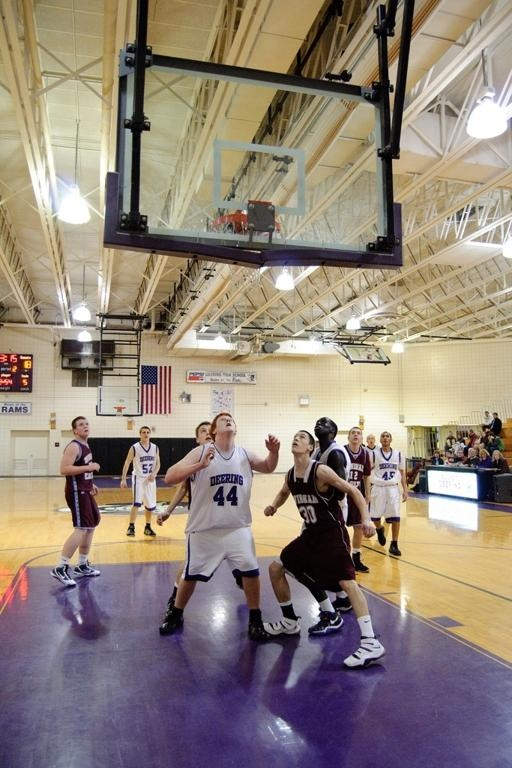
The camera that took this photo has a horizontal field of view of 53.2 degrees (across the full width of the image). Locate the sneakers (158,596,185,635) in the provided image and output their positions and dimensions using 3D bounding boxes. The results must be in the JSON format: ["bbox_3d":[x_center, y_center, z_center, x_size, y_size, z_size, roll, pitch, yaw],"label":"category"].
[{"bbox_3d":[-0.561,1.636,3.545,0.097,0.227,0.231,-2,-8,26],"label":"sneakers"}]

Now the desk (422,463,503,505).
[{"bbox_3d":[4.945,2.432,12.551,0.518,0.845,1.824,0,-2,-29],"label":"desk"}]

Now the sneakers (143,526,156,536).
[{"bbox_3d":[-1.548,2.178,7.526,0.087,0.191,0.260,6,-13,-29],"label":"sneakers"}]

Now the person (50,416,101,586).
[{"bbox_3d":[-1.761,1.155,5.139,0.434,1.657,1.055,0,-1,-18],"label":"person"}]

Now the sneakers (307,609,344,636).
[{"bbox_3d":[0.477,1.706,3.628,0.110,0.146,0.310,-19,-27,39],"label":"sneakers"}]

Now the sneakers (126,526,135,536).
[{"bbox_3d":[-1.771,2.137,7.432,0.099,0.160,0.123,0,-1,-19],"label":"sneakers"}]

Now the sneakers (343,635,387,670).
[{"bbox_3d":[0.615,1.540,2.978,0.296,0.156,0.106,-2,-12,-37],"label":"sneakers"}]

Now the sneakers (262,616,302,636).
[{"bbox_3d":[0.189,1.662,3.519,0.286,0.140,0.101,1,-13,2],"label":"sneakers"}]
